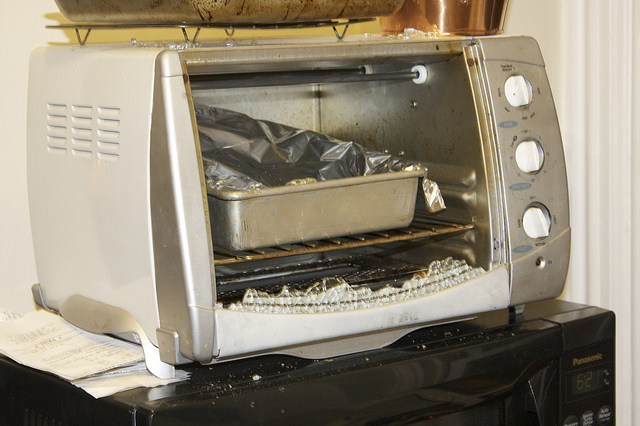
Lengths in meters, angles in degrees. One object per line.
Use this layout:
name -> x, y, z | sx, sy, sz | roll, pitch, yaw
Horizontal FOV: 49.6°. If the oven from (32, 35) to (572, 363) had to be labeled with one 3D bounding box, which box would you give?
oven -> -0.054, -0.051, 1.482 | 0.948, 0.614, 0.731 | -6, 14, -29
